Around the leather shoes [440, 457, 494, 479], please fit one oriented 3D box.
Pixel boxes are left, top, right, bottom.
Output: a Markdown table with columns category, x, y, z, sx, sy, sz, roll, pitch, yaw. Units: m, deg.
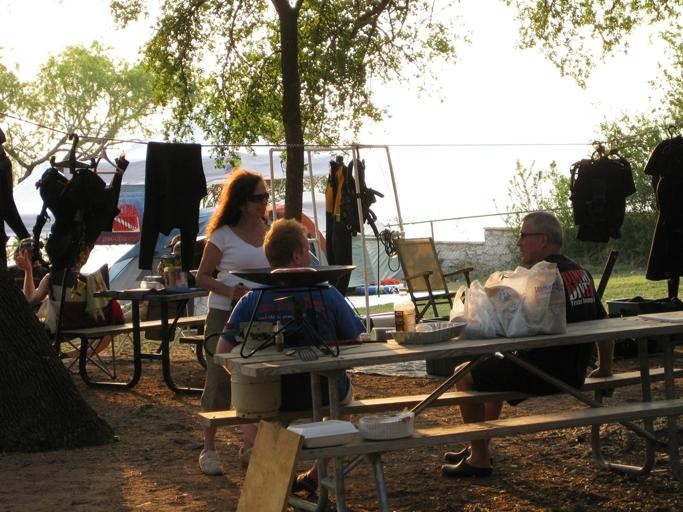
| category | x | y | z | sx | sy | sz | roll | pitch | yaw |
| --- | --- | --- | --- | --- | --- | --- | --- | --- | --- |
| leather shoes | 0.912 | 1.522 | 5.823 | 0.355 | 0.135 | 0.139 | 3 | -7 | 4 |

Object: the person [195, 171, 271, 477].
| category | x | y | z | sx | sy | sz | roll | pitch | yaw |
| --- | --- | --- | --- | --- | --- | --- | --- | --- | --- |
| person | -0.724 | 0.513 | 6.024 | 0.742 | 2.249 | 0.716 | 1 | 5 | -26 |

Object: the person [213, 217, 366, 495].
| category | x | y | z | sx | sy | sz | roll | pitch | yaw |
| --- | --- | --- | --- | --- | --- | --- | --- | --- | --- |
| person | -0.340 | 0.522 | 5.415 | 0.798 | 1.388 | 0.743 | 3 | 8 | -24 |

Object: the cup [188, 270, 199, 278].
| category | x | y | z | sx | sy | sz | roll | pitch | yaw |
| --- | --- | --- | --- | --- | --- | --- | --- | --- | --- |
| cup | -1.538 | 0.188 | 8.257 | 0.104 | 0.073 | 0.101 | -1 | -1 | 0 |

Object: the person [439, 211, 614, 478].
| category | x | y | z | sx | sy | sz | roll | pitch | yaw |
| --- | --- | --- | --- | --- | --- | --- | --- | --- | --- |
| person | 1.286 | 0.659 | 5.929 | 1.129 | 1.941 | 0.824 | 0 | 0 | -31 |

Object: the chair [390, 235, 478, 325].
| category | x | y | z | sx | sy | sz | roll | pitch | yaw |
| --- | --- | --- | --- | --- | --- | --- | --- | --- | --- |
| chair | 1.363 | 0.454 | 11.037 | 1.081 | 1.279 | 0.982 | 1 | 5 | 36 |

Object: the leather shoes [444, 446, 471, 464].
| category | x | y | z | sx | sy | sz | roll | pitch | yaw |
| --- | --- | --- | --- | --- | --- | --- | --- | --- | --- |
| leather shoes | 0.903 | 1.488 | 6.010 | 0.248 | 0.100 | 0.087 | -1 | 5 | -4 |

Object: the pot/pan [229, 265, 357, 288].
| category | x | y | z | sx | sy | sz | roll | pitch | yaw |
| --- | --- | --- | --- | --- | --- | --- | --- | --- | --- |
| pot/pan | -0.372 | 0.134 | 5.378 | 0.966 | 0.215 | 0.509 | 1 | 2 | -5 |

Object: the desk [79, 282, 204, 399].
| category | x | y | z | sx | sy | sz | roll | pitch | yaw |
| --- | --- | --- | --- | --- | --- | --- | --- | --- | --- |
| desk | -1.992 | 0.884 | 8.700 | 1.221 | 1.100 | 1.226 | -2 | -2 | 20 |

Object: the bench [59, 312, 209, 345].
| category | x | y | z | sx | sy | sz | roll | pitch | yaw |
| --- | --- | --- | --- | --- | --- | --- | --- | --- | --- |
| bench | -2.374 | 0.818 | 9.034 | 1.118 | 0.156 | 0.038 | -2 | -39 | -51 |
